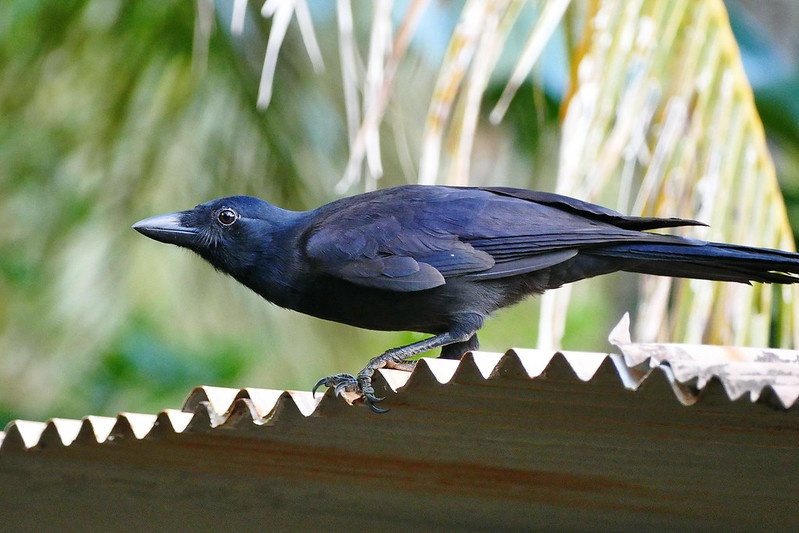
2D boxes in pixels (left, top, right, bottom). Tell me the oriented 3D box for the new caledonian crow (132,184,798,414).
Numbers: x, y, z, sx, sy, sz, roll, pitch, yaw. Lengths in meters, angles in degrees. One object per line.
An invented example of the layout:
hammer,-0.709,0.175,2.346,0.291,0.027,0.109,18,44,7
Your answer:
new caledonian crow,0.308,0.155,7.164,3.779,1.248,1.259,2,101,2
